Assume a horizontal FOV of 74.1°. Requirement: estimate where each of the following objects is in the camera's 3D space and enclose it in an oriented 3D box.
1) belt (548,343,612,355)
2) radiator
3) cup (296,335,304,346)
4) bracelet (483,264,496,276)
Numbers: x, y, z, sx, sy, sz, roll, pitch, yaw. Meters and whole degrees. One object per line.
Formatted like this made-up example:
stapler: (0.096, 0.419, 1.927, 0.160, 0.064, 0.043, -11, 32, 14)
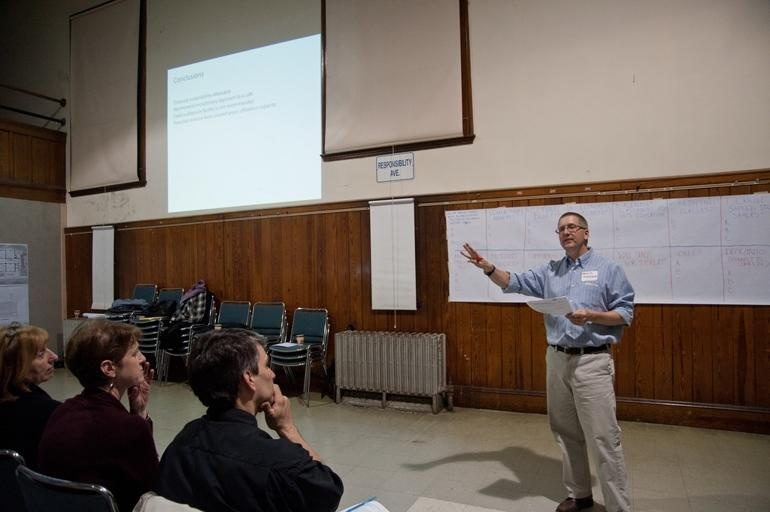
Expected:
belt: (1.672, 0.796, 4.427, 0.482, 0.091, 0.161, 1, 8, 22)
radiator: (0.092, 1.535, 6.845, 1.464, 0.973, 0.461, 0, -7, 19)
cup: (-1.157, 1.151, 7.021, 0.103, 0.127, 0.103, -1, -4, 0)
bracelet: (0.968, 0.141, 4.694, 0.112, 0.048, 0.101, -22, 6, -3)
